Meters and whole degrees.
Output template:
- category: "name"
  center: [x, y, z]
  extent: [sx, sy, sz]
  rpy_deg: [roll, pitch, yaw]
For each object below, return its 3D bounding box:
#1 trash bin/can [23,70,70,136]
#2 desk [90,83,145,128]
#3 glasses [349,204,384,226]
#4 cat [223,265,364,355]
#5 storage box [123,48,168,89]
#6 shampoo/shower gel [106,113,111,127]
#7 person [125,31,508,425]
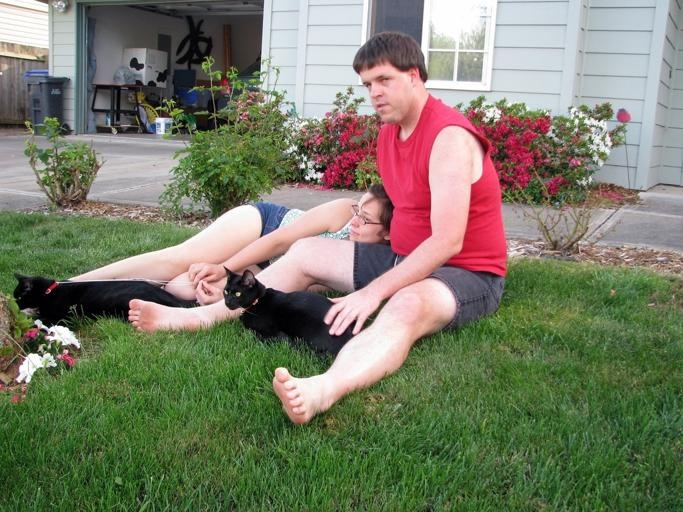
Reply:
- category: "trash bin/can"
  center: [-7.083, -3.734, 13.309]
  extent: [0.909, 1.457, 0.777]
  rpy_deg: [-4, 15, -21]
- category: "desk"
  center: [-6.591, -4.505, 16.161]
  extent: [1.467, 1.565, 1.518]
  rpy_deg: [7, 8, 42]
- category: "glasses"
  center: [0.125, -0.213, 3.001]
  extent: [0.126, 0.035, 0.127]
  rpy_deg: [2, 34, -38]
- category: "cat"
  center: [-0.244, 0.184, 2.733]
  extent: [0.772, 0.564, 0.272]
  rpy_deg: [6, 15, 25]
- category: "storage box"
  center: [-6.171, -5.948, 17.311]
  extent: [0.762, 1.117, 1.538]
  rpy_deg: [7, 15, 6]
- category: "shampoo/shower gel"
  center: [-6.748, -3.966, 15.856]
  extent: [0.147, 0.332, 0.421]
  rpy_deg: [-8, 18, -33]
- category: "person"
  center: [0.175, -0.296, 2.516]
  extent: [0.712, 1.436, 1.393]
  rpy_deg: [14, 19, 41]
